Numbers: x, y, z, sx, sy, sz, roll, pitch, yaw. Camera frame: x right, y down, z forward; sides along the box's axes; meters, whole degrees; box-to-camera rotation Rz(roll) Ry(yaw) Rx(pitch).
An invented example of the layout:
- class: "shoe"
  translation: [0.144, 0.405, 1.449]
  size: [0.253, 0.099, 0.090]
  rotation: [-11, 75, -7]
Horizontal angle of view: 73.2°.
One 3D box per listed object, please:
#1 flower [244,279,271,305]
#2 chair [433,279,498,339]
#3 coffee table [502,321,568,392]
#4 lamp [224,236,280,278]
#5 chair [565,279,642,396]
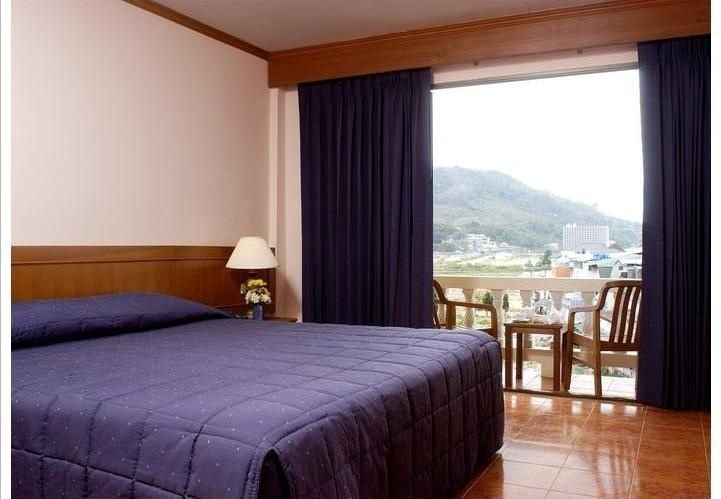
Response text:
- class: "flower"
  translation: [-1.026, 0.418, 4.907]
  size: [0.288, 0.291, 0.280]
  rotation: [-3, 6, -44]
- class: "chair"
  translation: [1.172, 0.663, 5.380]
  size: [0.674, 0.979, 0.588]
  rotation: [0, 1, 20]
- class: "coffee table"
  translation: [1.741, 1.073, 4.963]
  size: [0.638, 0.679, 0.673]
  rotation: [-2, -7, 26]
- class: "lamp"
  translation: [-1.087, 0.048, 4.882]
  size: [0.403, 0.382, 0.415]
  rotation: [9, 13, 41]
- class: "chair"
  translation: [2.304, 0.813, 4.705]
  size: [0.644, 1.090, 0.867]
  rotation: [0, 1, 23]
